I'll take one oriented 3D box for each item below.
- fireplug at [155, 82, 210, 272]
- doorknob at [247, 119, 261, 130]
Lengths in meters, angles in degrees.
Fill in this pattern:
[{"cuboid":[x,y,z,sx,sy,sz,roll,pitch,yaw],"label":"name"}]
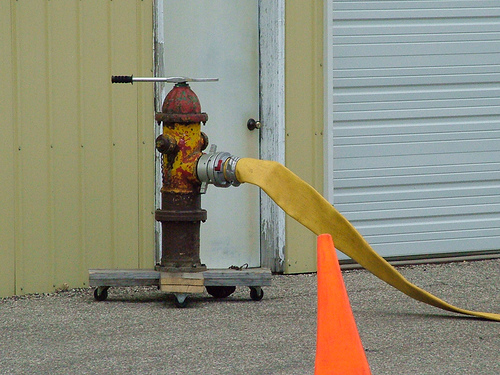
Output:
[{"cuboid":[-0.471,-0.081,9.266,0.627,1.442,0.546,1,1,-6],"label":"fireplug"},{"cuboid":[0.044,-0.526,10.193,0.094,0.086,0.091,-4,-3,20],"label":"doorknob"}]
